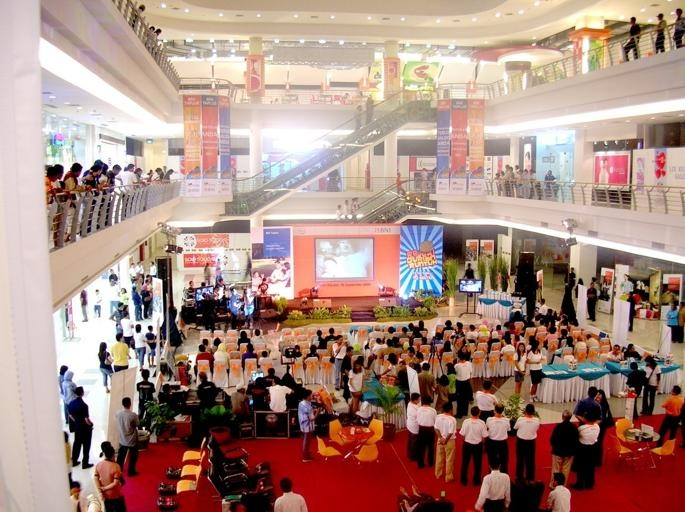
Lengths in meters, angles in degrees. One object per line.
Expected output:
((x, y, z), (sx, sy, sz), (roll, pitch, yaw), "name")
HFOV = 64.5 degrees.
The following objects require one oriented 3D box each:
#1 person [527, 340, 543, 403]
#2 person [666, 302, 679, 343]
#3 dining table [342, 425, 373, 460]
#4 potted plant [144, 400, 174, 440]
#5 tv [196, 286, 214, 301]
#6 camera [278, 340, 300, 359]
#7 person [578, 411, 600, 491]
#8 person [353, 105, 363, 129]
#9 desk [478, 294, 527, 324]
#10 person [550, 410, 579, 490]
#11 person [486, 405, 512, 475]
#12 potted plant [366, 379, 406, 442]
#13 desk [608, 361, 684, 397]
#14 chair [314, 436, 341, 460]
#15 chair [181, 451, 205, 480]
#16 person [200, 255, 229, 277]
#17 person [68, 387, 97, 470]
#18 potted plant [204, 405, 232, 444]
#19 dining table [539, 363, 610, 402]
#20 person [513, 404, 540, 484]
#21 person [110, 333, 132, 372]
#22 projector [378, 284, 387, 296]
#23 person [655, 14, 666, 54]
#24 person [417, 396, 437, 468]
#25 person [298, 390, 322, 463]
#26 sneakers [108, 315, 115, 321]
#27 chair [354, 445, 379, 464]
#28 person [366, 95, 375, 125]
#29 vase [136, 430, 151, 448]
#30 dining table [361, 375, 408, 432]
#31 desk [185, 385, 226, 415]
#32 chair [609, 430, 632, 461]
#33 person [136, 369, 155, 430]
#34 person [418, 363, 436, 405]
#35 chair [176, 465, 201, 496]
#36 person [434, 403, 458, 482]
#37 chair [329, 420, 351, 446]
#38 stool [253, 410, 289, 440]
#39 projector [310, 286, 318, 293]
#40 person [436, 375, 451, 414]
((4.673, 2.807, 13.289), (0.335, 1.442, 1.118), (0, 4, 19), "person")
((10.573, 2.226, 17.450), (0.317, 1.198, 0.761), (1, 4, 32), "person")
((0.247, 3.683, 10.593), (0.573, 0.434, 0.603), (-13, 24, -36), "dining table")
((-3.826, 3.399, 11.346), (0.442, 0.630, 0.653), (2, 28, -21), "potted plant")
((-5.127, 1.403, 20.036), (0.776, 0.498, 0.570), (-2, 0, 2), "tv")
((-1.401, 2.546, 14.592), (0.389, 0.429, 0.724), (1, -5, 1), "camera")
((4.225, 3.441, 9.469), (0.369, 1.375, 0.505), (-1, 4, 18), "person")
((0.720, -6.141, 24.208), (0.394, 1.159, 0.608), (-2, 4, 3), "person")
((5.926, 1.959, 20.807), (1.132, 0.650, 1.184), (4, 8, 32), "desk")
((3.806, 3.307, 9.444), (0.410, 1.404, 0.421), (0, 20, 6), "person")
((2.743, 3.301, 9.674), (0.405, 1.414, 0.400), (-3, 14, 1), "person")
((0.937, 3.256, 11.640), (0.912, 1.005, 0.959), (-4, -3, -19), "potted plant")
((6.957, 2.884, 12.687), (1.077, 0.487, 0.443), (-2, 0, -4), "desk")
((-0.289, 3.789, 10.636), (0.315, 0.404, 0.294), (-9, 40, -34), "chair")
((-2.635, 3.874, 9.607), (0.309, 0.452, 1.002), (5, -2, -14), "chair")
((-5.438, 0.360, 23.310), (1.235, 0.788, 1.287), (-3, 4, -12), "person")
((-4.846, 3.164, 10.059), (0.353, 1.544, 0.660), (-4, 4, -29), "person")
((-2.445, 3.325, 10.811), (0.573, 0.636, 0.588), (-1, 2, -34), "potted plant")
((5.587, 3.045, 13.252), (1.408, 0.663, 0.883), (-2, 6, -8), "dining table")
((3.247, 3.304, 9.648), (0.370, 1.446, 0.441), (0, 4, 20), "person")
((-5.281, 2.512, 12.942), (0.358, 1.361, 0.362), (-4, 18, -26), "person")
((1.622, 1.460, 22.588), (0.226, 0.384, 0.378), (0, 0, 0), "projector")
((8.209, -5.802, 14.118), (0.224, 1.157, 0.918), (0, 4, 31), "person")
((1.559, 3.301, 10.238), (0.367, 1.441, 0.658), (-1, 4, 9), "person")
((-0.707, 3.332, 11.081), (0.373, 1.196, 1.604), (-2, 4, -5), "person")
((-8.086, 2.206, 19.076), (0.148, 0.179, 0.225), (0, -4, -1), "sneakers")
((0.458, 3.763, 10.366), (0.373, 0.396, 0.360), (0, 5, -6), "chair")
((1.180, -6.404, 24.030), (0.403, 1.252, 0.614), (-2, 4, 3), "person")
((-4.024, 3.691, 10.943), (0.262, 0.223, 0.269), (1, -2, 39), "vase")
((0.889, 3.288, 11.931), (0.913, 1.082, 0.998), (-2, -1, 3), "dining table")
((-2.857, 3.056, 11.383), (0.705, 0.557, 0.730), (0, 11, -8), "desk")
((5.290, 3.650, 10.369), (0.394, 0.647, 0.347), (-11, 22, 0), "chair")
((-4.269, 3.104, 11.836), (0.357, 1.345, 0.363), (-1, 15, -24), "person")
((1.827, 2.910, 11.806), (0.385, 1.274, 0.323), (1, 23, 12), "person")
((-2.612, 3.782, 9.283), (0.381, 0.622, 0.313), (15, -2, -19), "chair")
((1.817, 3.454, 9.823), (0.319, 1.283, 0.513), (-3, 4, -17), "person")
((-0.098, 3.462, 10.603), (0.402, 0.471, 0.439), (-5, 11, -34), "chair")
((-1.487, 3.582, 11.373), (0.767, 0.658, 0.499), (1, 3, 1), "stool")
((-1.170, 1.405, 22.203), (0.211, 0.282, 0.253), (-3, -10, 24), "projector")
((2.152, 2.965, 11.649), (0.352, 1.131, 0.369), (-4, 35, 2), "person")
